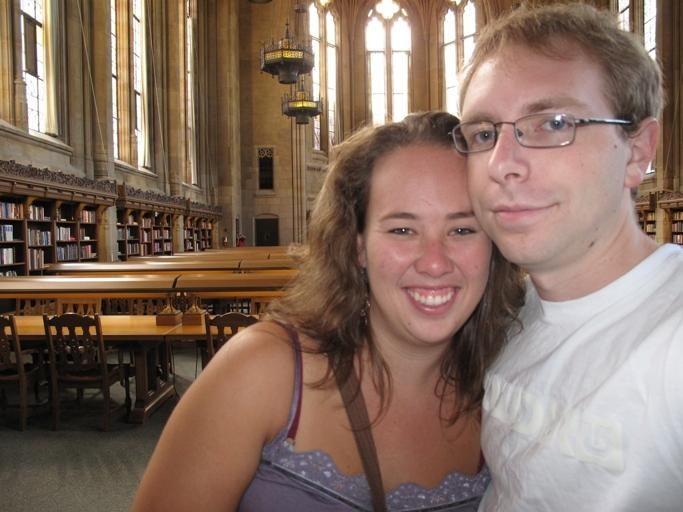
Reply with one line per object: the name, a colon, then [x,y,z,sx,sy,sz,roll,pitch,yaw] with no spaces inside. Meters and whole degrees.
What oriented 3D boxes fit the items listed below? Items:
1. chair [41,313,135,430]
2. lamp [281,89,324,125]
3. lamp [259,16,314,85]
chair: [-2.047,0.889,5.381,0.609,0.736,0.964,-6,3,-25]
lamp: [-1.054,-3.721,16.454,1.018,0.917,1.123,-6,16,-3]
lamp: [-1.173,-4.429,14.416,1.150,1.328,1.137,-1,0,-38]
